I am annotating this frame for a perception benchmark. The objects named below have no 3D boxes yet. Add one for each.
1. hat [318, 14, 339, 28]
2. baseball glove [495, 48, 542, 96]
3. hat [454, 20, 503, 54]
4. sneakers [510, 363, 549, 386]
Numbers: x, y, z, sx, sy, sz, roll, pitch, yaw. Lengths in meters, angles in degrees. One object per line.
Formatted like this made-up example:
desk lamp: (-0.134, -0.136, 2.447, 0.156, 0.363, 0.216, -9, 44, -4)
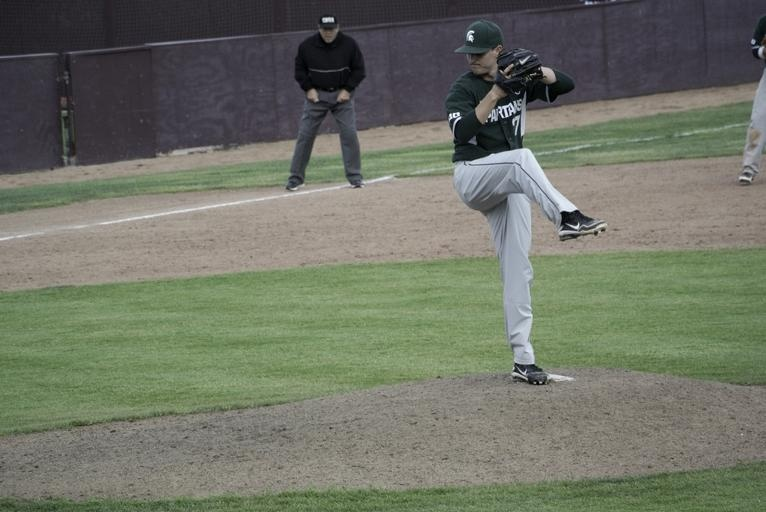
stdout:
hat: (-0.883, -3.843, 26.685, 0.286, 0.209, 0.259, -4, 10, -8)
baseball glove: (1.732, -2.368, 20.905, 0.672, 0.558, 0.363, -5, 10, -14)
hat: (1.279, -2.834, 21.062, 0.599, 0.306, 0.378, -14, 31, -18)
sneakers: (1.878, 1.514, 20.915, 0.497, 0.199, 0.208, 3, 6, 39)
